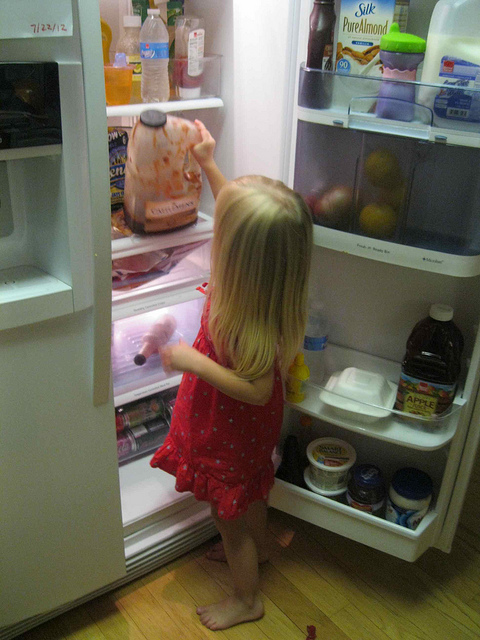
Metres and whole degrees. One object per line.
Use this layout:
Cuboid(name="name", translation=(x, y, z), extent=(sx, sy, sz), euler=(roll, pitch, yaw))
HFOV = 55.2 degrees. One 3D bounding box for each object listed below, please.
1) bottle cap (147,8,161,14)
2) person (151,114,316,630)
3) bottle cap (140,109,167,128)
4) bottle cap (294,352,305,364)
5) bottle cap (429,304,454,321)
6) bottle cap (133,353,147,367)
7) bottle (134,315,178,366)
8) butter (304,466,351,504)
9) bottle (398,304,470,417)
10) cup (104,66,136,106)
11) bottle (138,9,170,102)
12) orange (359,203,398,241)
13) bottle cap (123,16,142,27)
Cuboid(name="bottle cap", translation=(-0.180, -0.640, 0.960), extent=(0.024, 0.012, 0.040), euler=(-4, 27, -12))
Cuboid(name="person", translation=(-0.028, 0.188, 1.138), extent=(0.350, 1.171, 0.444), euler=(9, 25, 16))
Cuboid(name="bottle cap", translation=(-0.182, -0.421, 0.968), extent=(0.057, 0.033, 0.038), euler=(-6, 27, -17))
Cuboid(name="bottle cap", translation=(0.153, 0.101, 1.183), extent=(0.020, 0.027, 0.028), euler=(16, 29, 28))
Cuboid(name="bottle cap", translation=(0.452, -0.016, 1.034), extent=(0.046, 0.030, 0.074), euler=(14, 29, 22))
Cuboid(name="bottle cap", translation=(-0.275, 0.109, 1.265), extent=(0.030, 0.028, 0.031), euler=(50, 12, 5))
Cuboid(name="bottle", translation=(-0.233, 0.067, 1.335), extent=(0.056, 0.057, 0.186), euler=(-4, 32, 26))
Cuboid(name="butter", translation=(0.232, 0.466, 1.317), extent=(0.095, 0.092, 0.148), euler=(-9, 29, -10))
Cuboid(name="bottle", translation=(0.450, 0.103, 1.095), extent=(0.138, 0.294, 0.124), euler=(10, 34, 20))
Cuboid(name="cup", translation=(-0.256, -0.487, 0.965), extent=(0.071, 0.069, 0.077), euler=(1, 27, -1))
Cuboid(name="bottle", translation=(-0.189, -0.569, 1.006), extent=(0.067, 0.173, 0.092), euler=(-4, 25, -11))
Cuboid(name="orange", translation=(0.284, -0.197, 0.939), extent=(0.061, 0.079, 0.067), euler=(7, 30, 18))
Cuboid(name="bottle cap", translation=(-0.236, -0.649, 1.007), extent=(0.023, 0.014, 0.026), euler=(0, 51, -8))
